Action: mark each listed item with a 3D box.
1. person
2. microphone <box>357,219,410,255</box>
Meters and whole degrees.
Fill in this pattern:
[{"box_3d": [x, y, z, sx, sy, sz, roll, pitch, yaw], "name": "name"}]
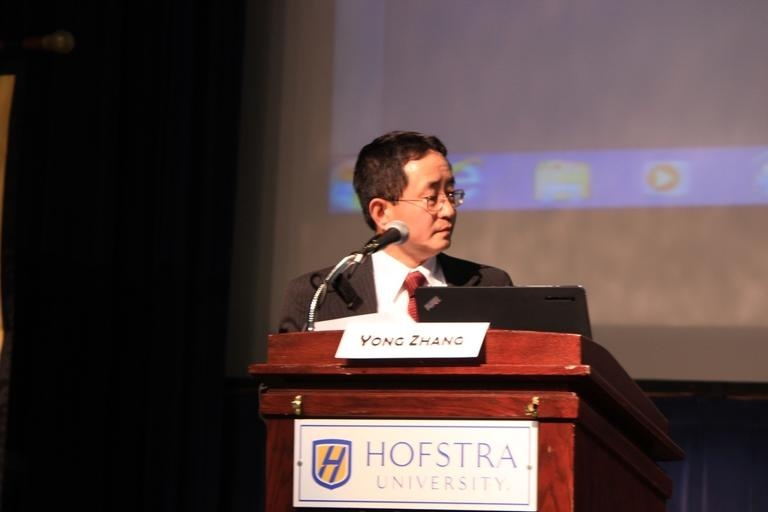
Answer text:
[{"box_3d": [0.075, -0.020, 4.134, 0.537, 0.938, 1.064, 0, -2, 44], "name": "person"}, {"box_3d": [0.013, -0.071, 3.528, 0.236, 0.072, 0.076, -28, -27, -27], "name": "microphone"}]
